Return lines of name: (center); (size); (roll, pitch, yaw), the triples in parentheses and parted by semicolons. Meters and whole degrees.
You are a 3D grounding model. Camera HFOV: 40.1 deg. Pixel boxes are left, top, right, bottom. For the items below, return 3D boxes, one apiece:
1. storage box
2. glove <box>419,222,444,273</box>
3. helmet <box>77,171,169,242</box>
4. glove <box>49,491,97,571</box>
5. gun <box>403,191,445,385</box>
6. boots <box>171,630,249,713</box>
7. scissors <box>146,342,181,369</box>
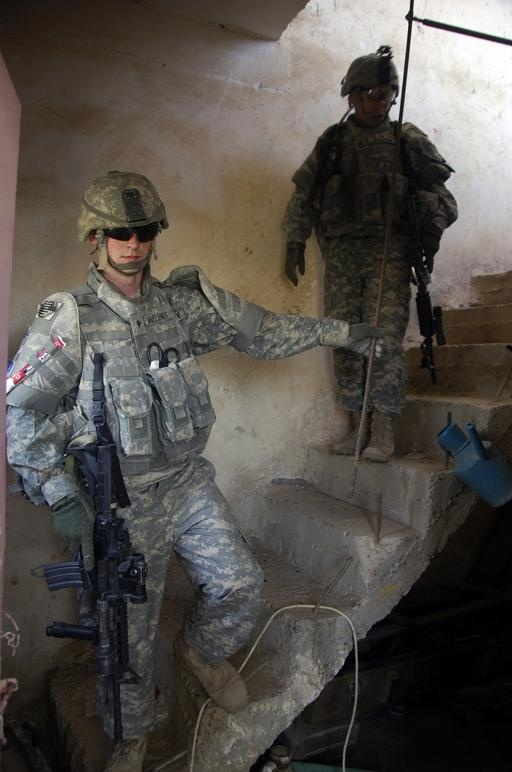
storage box: (0.440, 1.510, 3.424); (0.114, 0.198, 0.895); (-20, -25, 34)
glove: (0.943, -0.740, 3.689); (0.094, 0.290, 0.111); (1, -3, -24)
helmet: (-0.483, -0.669, 2.551); (0.289, 0.177, 0.273); (-9, 40, -17)
glove: (-0.577, 0.463, 2.310); (0.161, 0.231, 0.096); (-36, -7, 37)
gun: (0.930, -0.521, 3.863); (0.123, 1.082, 0.405); (-4, 5, 3)
boots: (-0.159, 1.083, 2.714); (0.150, 0.175, 0.426); (-31, 65, -26)
scissors: (-0.349, -0.109, 2.622); (0.107, 0.098, 0.027); (15, -14, -33)
